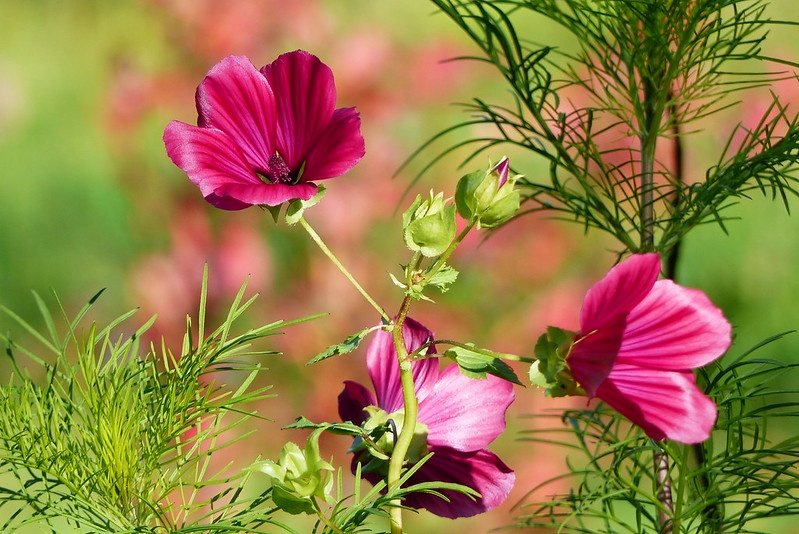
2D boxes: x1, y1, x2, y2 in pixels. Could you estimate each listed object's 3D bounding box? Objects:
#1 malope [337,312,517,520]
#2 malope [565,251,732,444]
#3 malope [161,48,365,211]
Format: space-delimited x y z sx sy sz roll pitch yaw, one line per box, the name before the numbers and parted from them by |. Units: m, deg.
malope | 0.041 0.099 0.703 0.128 0.135 0.065 37 21 16
malope | 0.155 0.048 0.562 0.098 0.094 0.083 -3 31 20
malope | -0.089 -0.088 0.584 0.123 0.081 0.089 -21 30 -10
